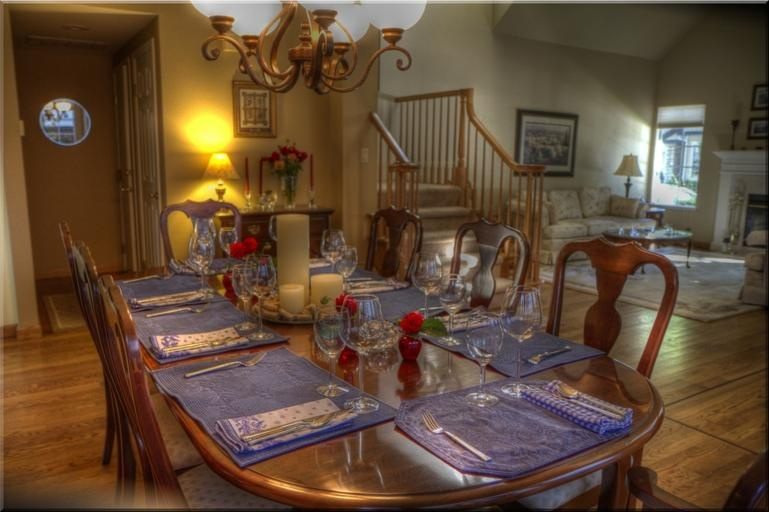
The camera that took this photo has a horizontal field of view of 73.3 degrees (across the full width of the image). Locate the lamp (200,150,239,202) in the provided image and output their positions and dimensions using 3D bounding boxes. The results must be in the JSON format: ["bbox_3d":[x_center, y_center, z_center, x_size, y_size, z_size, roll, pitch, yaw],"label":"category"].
[{"bbox_3d":[-1.492,-0.728,4.714,0.295,0.442,0.302,-5,8,-17],"label":"lamp"}]

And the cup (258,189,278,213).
[{"bbox_3d":[-1.116,-0.523,5.013,0.225,0.238,0.220,3,6,0],"label":"cup"}]

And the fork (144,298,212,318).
[{"bbox_3d":[-0.960,0.244,2.389,0.217,0.038,0.037,-8,21,-18],"label":"fork"}]

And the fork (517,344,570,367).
[{"bbox_3d":[0.643,0.379,2.018,0.377,0.027,0.069,-3,13,-42],"label":"fork"}]

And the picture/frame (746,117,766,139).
[{"bbox_3d":[6.427,-2.199,8.934,0.241,0.411,0.255,2,9,28],"label":"picture/frame"}]

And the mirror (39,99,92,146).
[{"bbox_3d":[-3.779,-1.540,6.060,0.586,0.586,0.055,0,-18,-26],"label":"mirror"}]

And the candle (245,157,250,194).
[{"bbox_3d":[-1.298,-0.772,4.879,0.060,0.324,0.154,-4,8,-14],"label":"candle"}]

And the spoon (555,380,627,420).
[{"bbox_3d":[0.675,0.480,1.691,0.095,0.029,0.153,-1,14,-39],"label":"spoon"}]

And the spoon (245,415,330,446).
[{"bbox_3d":[-0.295,0.535,1.572,0.174,0.029,0.039,-8,24,-25],"label":"spoon"}]

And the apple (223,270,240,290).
[{"bbox_3d":[-0.709,0.116,2.391,0.081,0.076,0.081,-5,14,-34],"label":"apple"}]

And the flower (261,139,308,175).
[{"bbox_3d":[-0.930,-0.907,4.927,0.383,0.344,0.371,0,8,-13],"label":"flower"}]
